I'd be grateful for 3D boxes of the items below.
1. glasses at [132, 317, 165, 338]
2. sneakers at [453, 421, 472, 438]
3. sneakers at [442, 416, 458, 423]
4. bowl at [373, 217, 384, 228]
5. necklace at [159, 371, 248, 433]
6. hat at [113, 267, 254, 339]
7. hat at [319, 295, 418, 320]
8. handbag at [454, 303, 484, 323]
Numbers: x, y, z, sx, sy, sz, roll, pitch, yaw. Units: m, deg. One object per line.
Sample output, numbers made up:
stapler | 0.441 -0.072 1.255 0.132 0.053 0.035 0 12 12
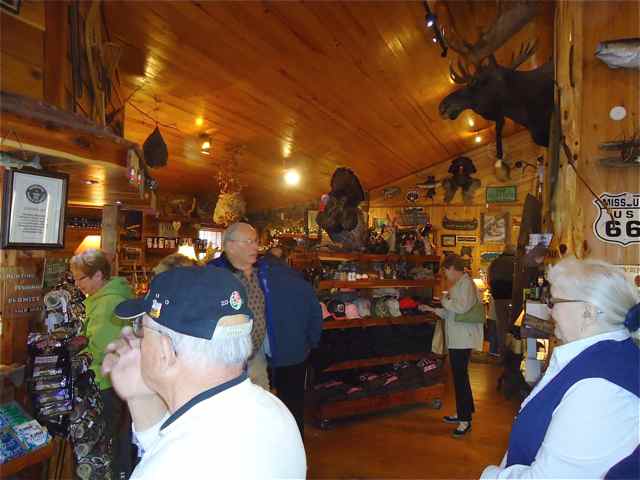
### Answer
glasses | -0.717 0.367 1.977 0.081 0.096 0.074 -11 17 18
sneakers | 1.399 1.881 4.638 0.093 0.111 0.283 -8 -15 38
sneakers | 1.388 1.905 4.983 0.186 0.077 0.069 4 -1 11
bowl | 1.394 -0.444 11.015 0.199 0.180 0.466 1 2 -6
necklace | -0.466 0.639 1.876 0.261 0.065 0.209 -36 3 -13
hat | -0.552 0.251 2.033 0.427 0.215 0.311 6 -3 8
hat | 0.514 0.774 5.353 0.696 0.226 0.462 3 -7 -19
handbag | 1.481 0.738 4.703 0.198 0.190 0.083 0 6 -2
